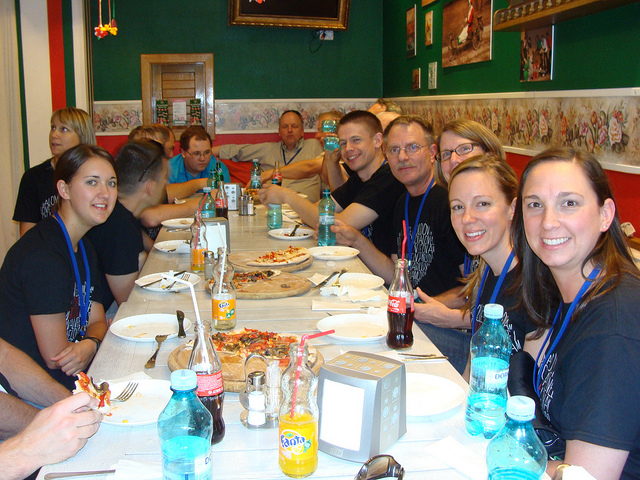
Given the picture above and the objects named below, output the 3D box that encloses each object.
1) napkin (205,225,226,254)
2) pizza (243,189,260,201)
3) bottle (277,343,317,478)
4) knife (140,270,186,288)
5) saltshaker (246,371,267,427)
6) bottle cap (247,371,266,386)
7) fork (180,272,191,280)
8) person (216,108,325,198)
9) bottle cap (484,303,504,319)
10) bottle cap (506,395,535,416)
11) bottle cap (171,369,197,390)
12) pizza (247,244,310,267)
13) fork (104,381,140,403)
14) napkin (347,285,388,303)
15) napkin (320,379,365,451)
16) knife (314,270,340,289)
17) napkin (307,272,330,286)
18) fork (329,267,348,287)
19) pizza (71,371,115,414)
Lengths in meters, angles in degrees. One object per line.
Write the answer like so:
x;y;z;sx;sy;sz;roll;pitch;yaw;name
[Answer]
-0.512;-0.003;2.508;0.160;0.166;0.042;2;8;-26;napkin
-0.641;-0.438;4.669;0.112;0.106;0.117;1;13;-8;pizza
-0.062;0.404;1.258;0.103;0.311;0.191;-3;12;-4;bottle
-0.725;0.183;2.310;0.018;0.027;0.262;40;41;21;knife
-0.168;0.421;1.359;0.043;0.122;0.046;6;32;-1;saltshaker
-0.166;0.371;1.329;0.035;0.036;0.039;1;-6;2;bottle cap
-0.650;0.172;2.415;0.017;0.008;0.068;-1;21;10;fork
-0.627;-1.052;5.985;1.286;1.427;0.438;-5;-6;10;person
0.497;0.207;1.439;0.051;0.045;0.053;-1;12;6;bottle cap
0.435;0.363;1.089;0.057;0.028;0.045;-1;12;6;bottle cap
-0.309;0.315;1.124;0.041;0.032;0.043;4;3;28;bottle cap
-0.202;0.096;2.699;0.220;0.034;0.132;-9;12;-35;pizza
-0.577;0.435;1.463;0.021;0.024;0.133;25;11;4;fork
0.209;0.233;2.238;0.172;0.049;0.151;-3;12;-2;napkin
0.055;0.440;1.244;0.114;0.163;0.028;5;13;32;napkin
0.036;0.191;2.462;0.032;0.023;0.300;25;27;12;knife
-0.009;0.188;2.449;0.112;0.016;0.141;5;15;33;napkin
0.090;0.177;2.434;0.031;0.023;0.203;7;24;11;fork
-0.639;0.443;1.431;0.112;0.049;0.147;11;9;-2;pizza
